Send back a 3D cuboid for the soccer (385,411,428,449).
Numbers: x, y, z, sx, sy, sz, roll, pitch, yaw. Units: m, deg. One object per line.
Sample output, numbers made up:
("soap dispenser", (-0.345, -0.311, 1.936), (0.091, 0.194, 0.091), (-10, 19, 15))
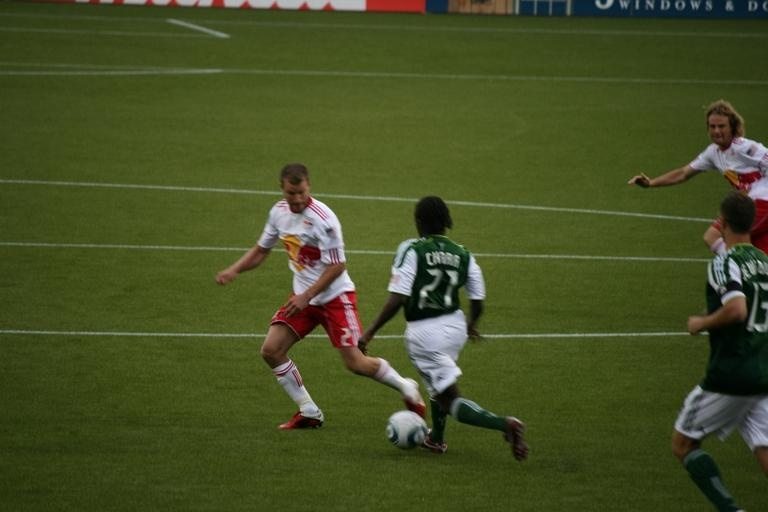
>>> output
("soccer", (0.437, 3.257, 27.230), (0.827, 0.779, 0.852), (-2, 8, 18))
